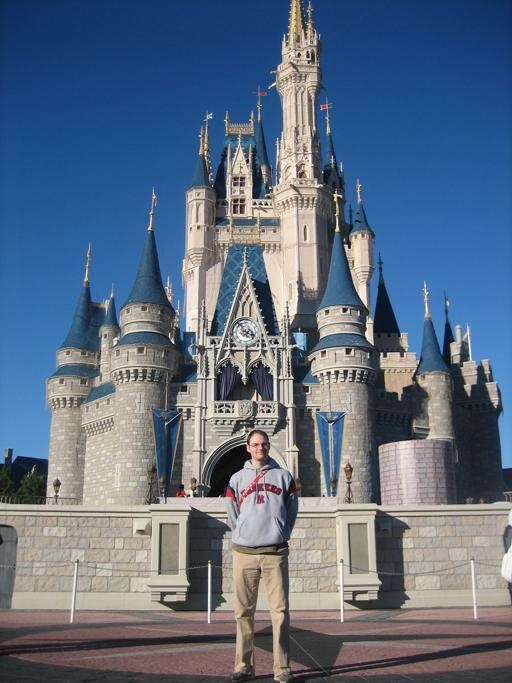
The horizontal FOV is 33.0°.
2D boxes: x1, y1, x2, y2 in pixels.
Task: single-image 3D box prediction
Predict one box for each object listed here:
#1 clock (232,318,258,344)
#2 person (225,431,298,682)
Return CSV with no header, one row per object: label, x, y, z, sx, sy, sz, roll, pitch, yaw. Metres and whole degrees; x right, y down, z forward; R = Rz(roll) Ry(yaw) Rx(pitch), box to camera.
clock,-0.584,-0.434,40.926,1.383,1.585,0.202,2,-39,-4
person,0.045,1.646,6.386,0.540,1.601,0.535,-1,-15,-1
